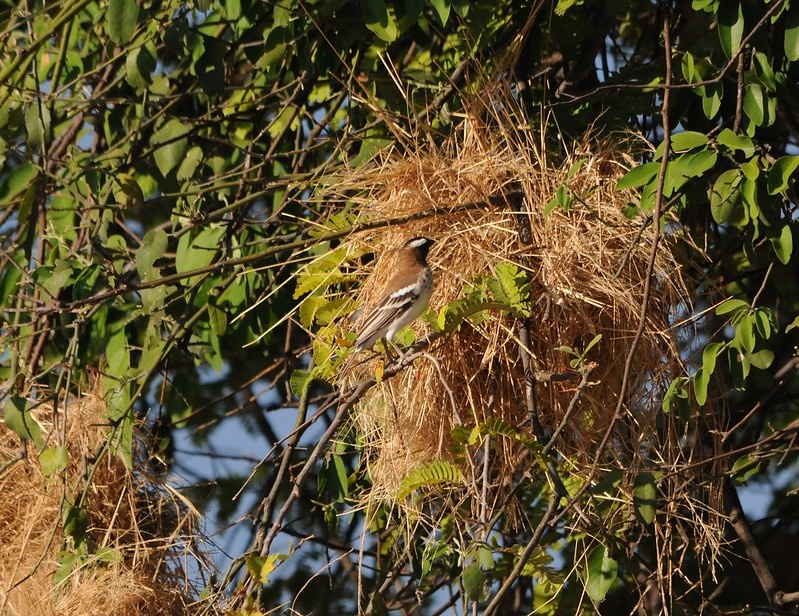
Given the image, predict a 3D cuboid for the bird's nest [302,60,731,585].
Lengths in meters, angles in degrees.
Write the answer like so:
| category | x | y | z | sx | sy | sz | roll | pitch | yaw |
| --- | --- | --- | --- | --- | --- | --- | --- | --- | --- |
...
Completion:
| category | x | y | z | sx | sy | sz | roll | pitch | yaw |
| --- | --- | --- | --- | --- | --- | --- | --- | --- | --- |
| bird's nest | 0.573 | 0.023 | 5.137 | 1.247 | 1.466 | 1.357 | -44 | 78 | -1 |
